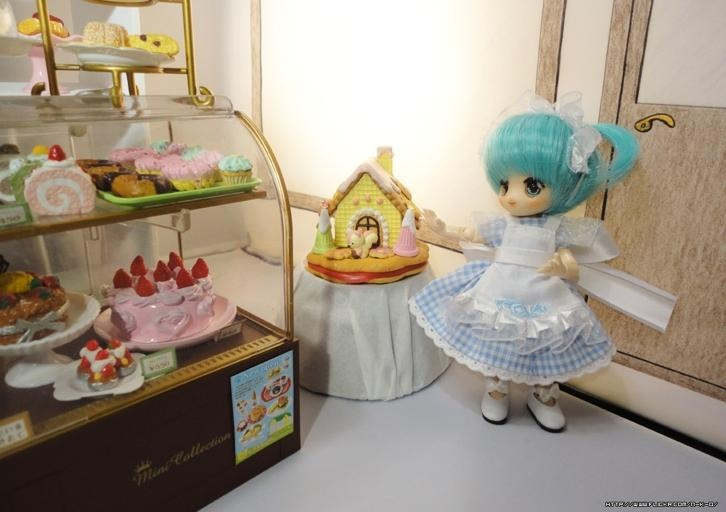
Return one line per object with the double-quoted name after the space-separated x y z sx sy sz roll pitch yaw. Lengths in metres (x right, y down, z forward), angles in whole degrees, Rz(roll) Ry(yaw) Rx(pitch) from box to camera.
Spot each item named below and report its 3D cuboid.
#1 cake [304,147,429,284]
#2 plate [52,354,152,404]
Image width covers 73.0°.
0.013 -0.210 2.522 0.645 0.623 0.409 -3 21 -2 "cake"
-0.962 0.447 1.795 0.305 0.079 0.153 -7 22 -13 "plate"
